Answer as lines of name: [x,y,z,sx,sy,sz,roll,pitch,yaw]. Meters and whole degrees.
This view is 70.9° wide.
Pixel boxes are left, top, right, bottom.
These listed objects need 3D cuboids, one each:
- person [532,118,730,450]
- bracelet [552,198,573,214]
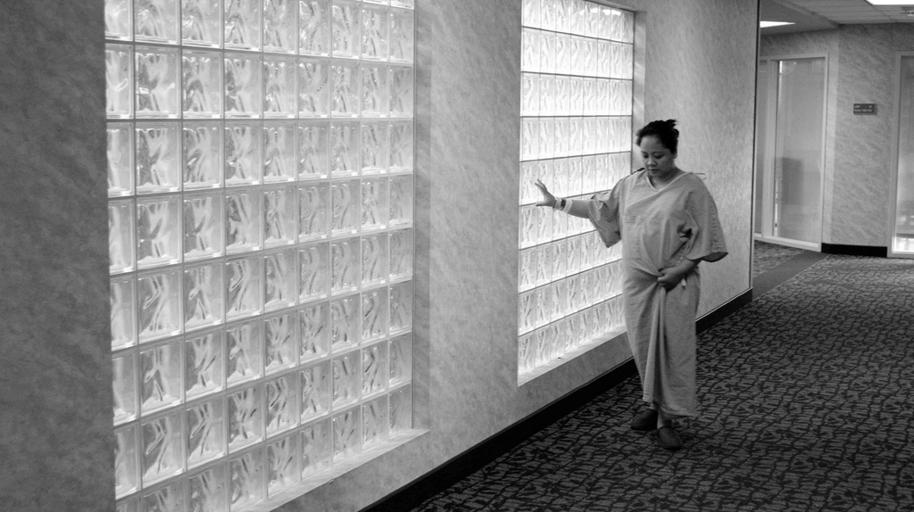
person: [1.638,0.186,5.503,0.608,2.644,1.042,-10,16,-38]
bracelet: [0.921,-0.440,5.611,0.120,0.069,0.157,4,-4,5]
